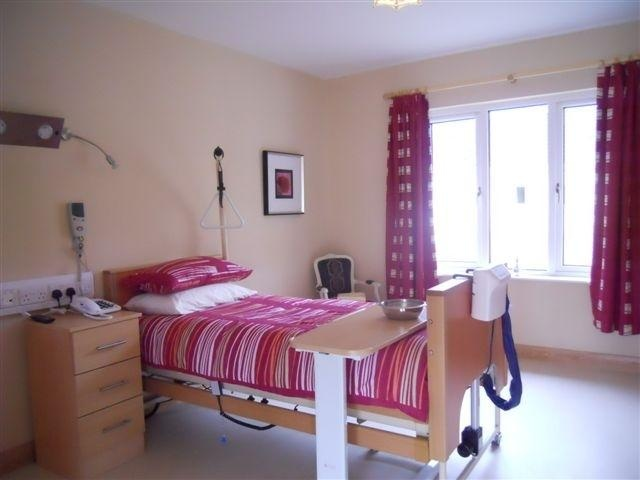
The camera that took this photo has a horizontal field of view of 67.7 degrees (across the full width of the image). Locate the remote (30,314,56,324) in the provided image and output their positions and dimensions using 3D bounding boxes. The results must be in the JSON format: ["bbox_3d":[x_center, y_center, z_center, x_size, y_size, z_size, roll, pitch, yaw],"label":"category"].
[{"bbox_3d":[-1.900,0.538,3.292,0.181,0.047,0.085,4,6,25],"label":"remote"}]

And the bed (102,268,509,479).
[{"bbox_3d":[-0.014,0.688,3.287,2.058,1.181,1.197,1,4,30],"label":"bed"}]

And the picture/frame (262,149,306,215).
[{"bbox_3d":[-0.414,-0.633,5.197,0.070,0.763,0.710,-2,0,36],"label":"picture/frame"}]

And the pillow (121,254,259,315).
[{"bbox_3d":[-1.013,0.374,3.960,0.448,0.349,0.776,3,3,29],"label":"pillow"}]

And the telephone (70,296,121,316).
[{"bbox_3d":[-1.619,0.471,3.413,0.209,0.079,0.174,5,7,29],"label":"telephone"}]

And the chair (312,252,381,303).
[{"bbox_3d":[0.328,0.450,5.461,0.589,0.910,0.591,-2,2,-22],"label":"chair"}]

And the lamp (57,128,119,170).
[{"bbox_3d":[-1.777,-0.708,3.681,0.319,0.143,0.177,28,-11,-25],"label":"lamp"}]
